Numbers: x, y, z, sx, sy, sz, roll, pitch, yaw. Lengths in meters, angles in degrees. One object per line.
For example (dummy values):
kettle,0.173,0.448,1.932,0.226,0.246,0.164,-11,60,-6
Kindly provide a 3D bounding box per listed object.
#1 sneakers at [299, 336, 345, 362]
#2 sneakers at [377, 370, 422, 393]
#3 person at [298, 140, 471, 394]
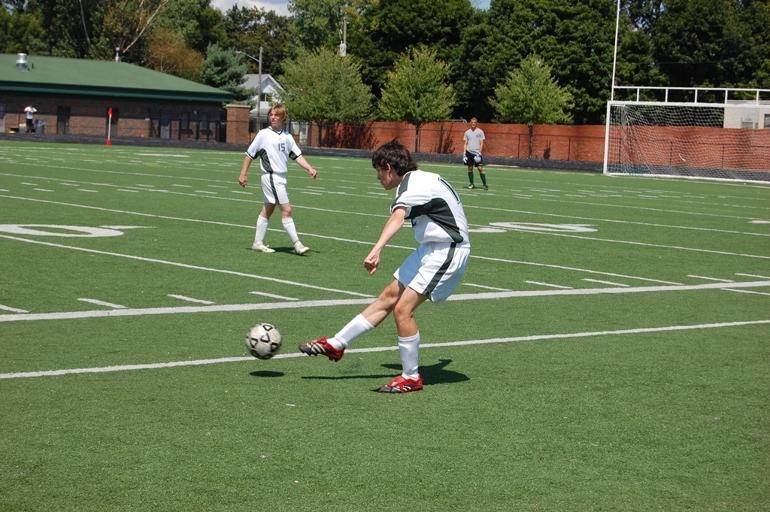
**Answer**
sneakers,-0.567,0.852,6.651,0.471,0.209,0.180,16,9,-5
sneakers,0.131,1.109,6.379,0.368,0.136,0.157,0,-1,-26
person,0.149,0.074,6.501,1.054,2.211,0.640,-2,5,-29
